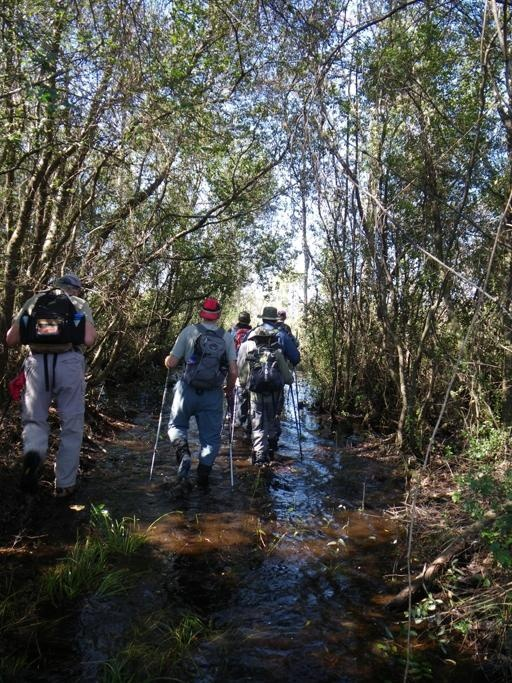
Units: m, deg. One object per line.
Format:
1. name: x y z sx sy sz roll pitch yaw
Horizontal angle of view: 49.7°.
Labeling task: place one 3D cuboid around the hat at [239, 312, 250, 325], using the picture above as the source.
1. hat: -0.204 -0.426 10.059 0.201 0.227 0.236 3 -9 0

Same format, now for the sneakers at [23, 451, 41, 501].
1. sneakers: -1.907 1.141 4.751 0.124 0.353 0.161 4 -20 -5

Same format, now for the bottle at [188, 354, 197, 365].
1. bottle: -0.666 0.190 5.797 0.071 0.078 0.114 7 -28 -5

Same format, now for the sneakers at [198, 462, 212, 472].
1. sneakers: -0.548 1.342 5.895 0.118 0.088 0.153 3 35 16

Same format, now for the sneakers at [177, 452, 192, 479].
1. sneakers: -0.750 1.291 5.734 0.127 0.361 0.177 11 18 -11

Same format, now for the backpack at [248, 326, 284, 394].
1. backpack: 0.120 0.223 7.368 0.490 0.891 0.423 5 -5 11

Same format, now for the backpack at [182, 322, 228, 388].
1. backpack: -0.528 0.182 5.934 0.460 0.644 0.411 11 1 -37

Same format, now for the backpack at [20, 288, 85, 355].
1. backpack: -1.890 -0.185 5.157 0.564 0.557 0.325 -2 -14 -1

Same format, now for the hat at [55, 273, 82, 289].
1. hat: -1.854 -0.611 5.512 0.161 0.121 0.215 7 10 4

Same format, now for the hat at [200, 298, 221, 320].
1. hat: -0.509 -0.386 6.189 0.190 0.258 0.137 4 -43 -2
